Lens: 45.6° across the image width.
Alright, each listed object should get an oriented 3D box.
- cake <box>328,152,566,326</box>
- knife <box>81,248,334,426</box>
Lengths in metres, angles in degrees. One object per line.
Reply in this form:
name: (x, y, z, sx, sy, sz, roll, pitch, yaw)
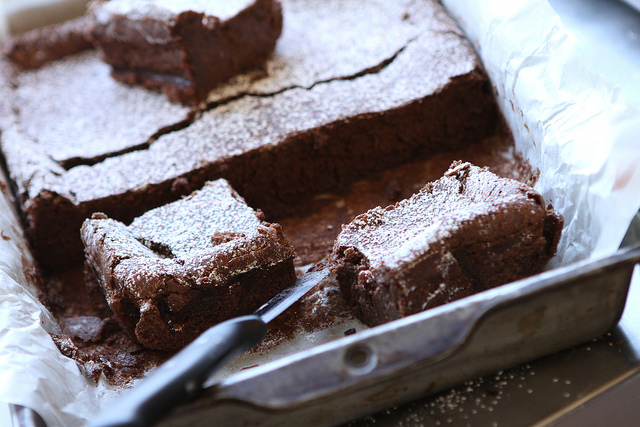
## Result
cake: (0.424, 0.153, 2.487, 0.651, 0.256, 0.518, -28, 30, -8)
knife: (-0.344, 0.382, 2.334, 0.075, 0.103, 0.907, -7, 24, 46)
